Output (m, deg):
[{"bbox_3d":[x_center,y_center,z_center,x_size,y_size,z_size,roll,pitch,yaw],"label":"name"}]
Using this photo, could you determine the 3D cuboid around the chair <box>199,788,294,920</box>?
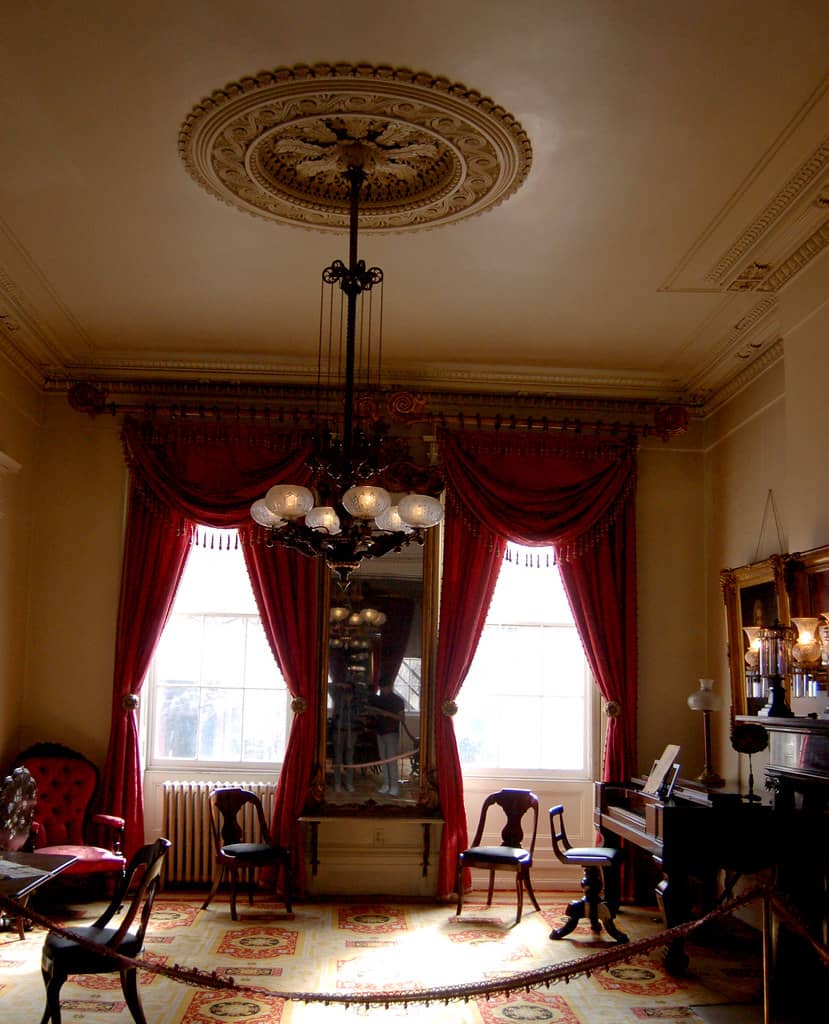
[{"bbox_3d":[-1.147,2.365,6.251,0.609,0.776,0.978,3,-12,-10],"label":"chair"}]

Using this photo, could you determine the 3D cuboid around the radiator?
[{"bbox_3d":[-1.457,2.400,6.659,0.901,0.716,0.086,0,-8,0],"label":"radiator"}]

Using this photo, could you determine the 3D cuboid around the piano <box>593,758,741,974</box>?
[{"bbox_3d":[1.471,2.087,5.170,0.668,1.010,1.654,0,-2,-3],"label":"piano"}]

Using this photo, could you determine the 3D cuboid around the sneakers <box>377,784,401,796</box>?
[{"bbox_3d":[-0.192,2.079,6.659,0.147,0.130,0.072,-1,-10,14],"label":"sneakers"}]

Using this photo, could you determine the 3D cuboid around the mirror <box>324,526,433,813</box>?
[{"bbox_3d":[-0.305,1.282,6.819,0.906,1.992,0.062,6,-27,-15],"label":"mirror"}]
